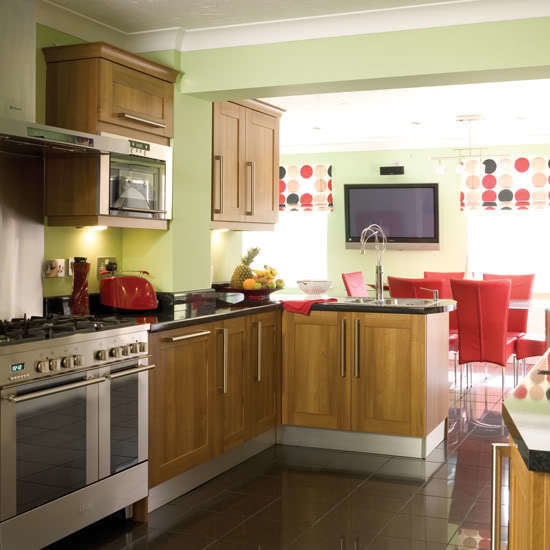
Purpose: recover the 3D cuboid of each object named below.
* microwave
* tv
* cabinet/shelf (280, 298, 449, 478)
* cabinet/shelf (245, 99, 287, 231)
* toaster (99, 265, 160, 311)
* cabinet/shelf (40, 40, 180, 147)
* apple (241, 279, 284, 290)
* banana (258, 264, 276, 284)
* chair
[{"bbox_3d":[-0.874,-0.549,3.004,0.289,0.432,0.568,2,6,27],"label":"microwave"},{"bbox_3d":[1.792,-0.894,7.557,1.026,0.831,0.116,0,1,16],"label":"tv"},{"bbox_3d":[0.677,0.664,3.961,1.367,1.450,0.916,-1,-3,23],"label":"cabinet/shelf"},{"bbox_3d":[-0.035,-1.056,4.855,0.374,1.048,0.826,-2,8,-18],"label":"cabinet/shelf"},{"bbox_3d":[-0.889,0.121,3.104,0.401,0.261,0.287,-10,-11,40],"label":"toaster"},{"bbox_3d":[-0.929,-1.002,3.058,0.344,0.552,0.767,5,10,19],"label":"cabinet/shelf"},{"bbox_3d":[-0.071,0.075,3.993,0.342,0.087,0.115,0,-1,-24],"label":"apple"},{"bbox_3d":[-0.070,0.011,4.064,0.106,0.068,0.153,20,40,-23],"label":"banana"},{"bbox_3d":[1.890,0.682,4.892,1.138,1.304,0.890,1,3,24],"label":"chair"}]
